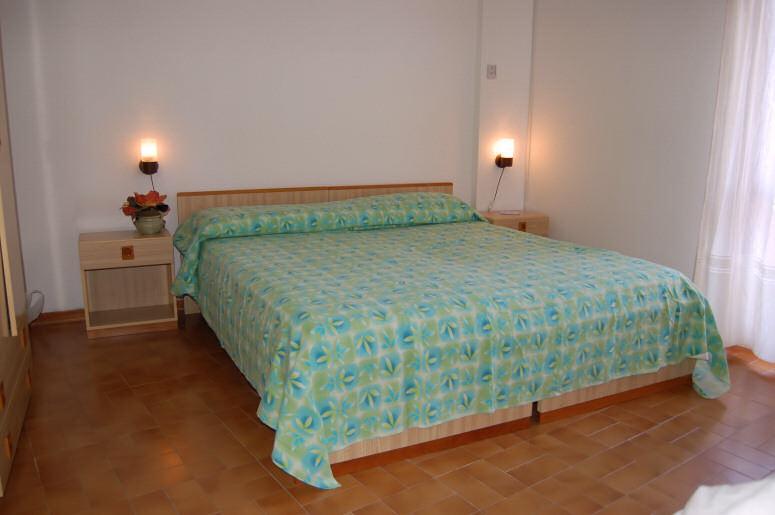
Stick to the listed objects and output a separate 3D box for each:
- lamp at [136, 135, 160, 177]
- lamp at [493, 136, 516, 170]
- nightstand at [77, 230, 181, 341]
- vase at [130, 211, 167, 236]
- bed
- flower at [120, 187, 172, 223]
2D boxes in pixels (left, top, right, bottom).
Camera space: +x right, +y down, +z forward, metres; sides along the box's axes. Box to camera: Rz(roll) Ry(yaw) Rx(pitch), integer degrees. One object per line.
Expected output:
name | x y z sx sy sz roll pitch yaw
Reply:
lamp | -2.074 -0.863 4.395 0.186 0.321 0.128 -10 17 -24
lamp | 1.266 -1.131 5.519 0.302 0.407 0.264 -1 4 -15
nightstand | -2.218 0.220 4.340 0.680 0.774 0.421 -5 10 -34
vase | -2.024 -0.335 4.306 0.227 0.163 0.193 -13 22 -33
bed | 0.211 0.200 3.934 3.076 1.312 3.131 -10 17 -25
flower | -2.032 -0.436 4.266 0.311 0.145 0.320 9 15 37
